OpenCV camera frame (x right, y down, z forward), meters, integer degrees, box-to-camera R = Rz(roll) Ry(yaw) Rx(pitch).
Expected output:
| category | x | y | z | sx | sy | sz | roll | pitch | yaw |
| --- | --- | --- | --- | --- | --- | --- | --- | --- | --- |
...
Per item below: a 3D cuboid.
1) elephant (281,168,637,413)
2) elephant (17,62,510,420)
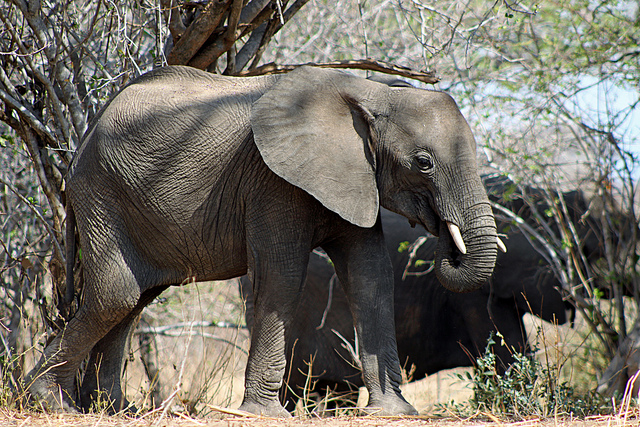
| category | x | y | z | sx | sy | sz | roll | pitch | yaw |
| --- | --- | --- | --- | --- | --- | --- | --- | --- | --- |
| elephant | 1.415 | 0.571 | 10.282 | 4.013 | 2.522 | 1.956 | -16 | -14 | 8 |
| elephant | -0.332 | 0.343 | 9.177 | 4.244 | 3.411 | 2.458 | -3 | -6 | 10 |
